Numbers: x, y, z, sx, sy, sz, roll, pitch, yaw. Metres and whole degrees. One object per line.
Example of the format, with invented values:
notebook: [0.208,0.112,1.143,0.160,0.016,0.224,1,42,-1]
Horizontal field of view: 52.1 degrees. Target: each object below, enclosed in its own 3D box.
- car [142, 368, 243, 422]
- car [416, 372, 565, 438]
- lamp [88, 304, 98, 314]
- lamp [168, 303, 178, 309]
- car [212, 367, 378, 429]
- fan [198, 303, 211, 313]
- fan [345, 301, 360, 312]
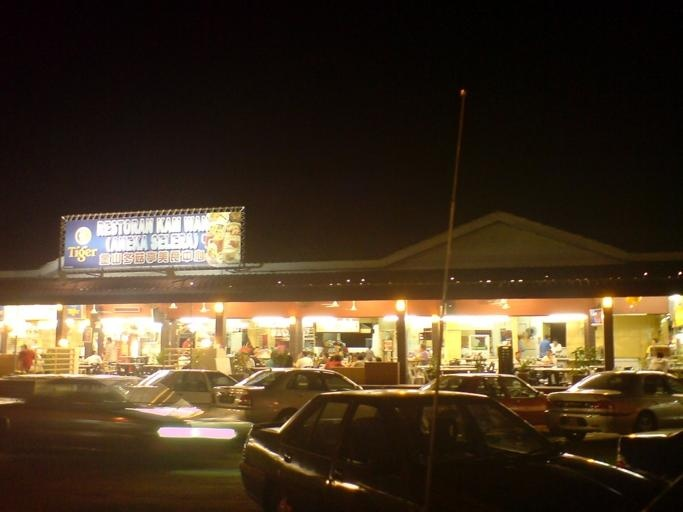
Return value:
car: [-3.303,3.047,15.708,2.477,0.612,1.005,2,-7,-18]
car: [3.498,3.366,15.876,4.218,1.073,1.738,2,-5,-24]
lamp: [-9.504,1.997,26.517,0.394,0.357,0.640,2,-1,-23]
lamp: [-6.278,1.817,25.656,0.269,0.197,0.283,1,-1,12]
car: [-0.908,2.838,14.625,3.337,0.823,1.385,2,-6,-28]
fan: [-5.024,1.876,25.419,0.443,0.348,0.370,-1,-1,1]
fan: [0.316,1.724,24.137,0.402,0.340,0.423,4,-6,-40]
